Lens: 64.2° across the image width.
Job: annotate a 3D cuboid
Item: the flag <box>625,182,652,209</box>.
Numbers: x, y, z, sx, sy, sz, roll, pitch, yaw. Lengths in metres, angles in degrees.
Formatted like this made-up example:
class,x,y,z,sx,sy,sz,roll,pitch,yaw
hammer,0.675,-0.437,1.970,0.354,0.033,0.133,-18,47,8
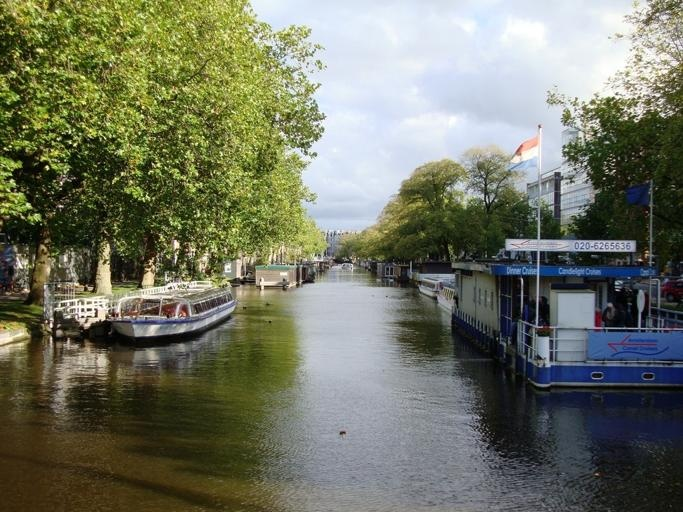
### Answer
class,x,y,z,sx,sy,sz,roll,pitch,yaw
flag,14.406,-3.074,26.328,0.932,0.980,1.017,2,2,22

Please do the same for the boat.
class,x,y,z,sx,sy,sz,roll,pitch,yaw
boat,-10.378,3.579,34.046,3.328,1.790,10.638,1,-2,6
